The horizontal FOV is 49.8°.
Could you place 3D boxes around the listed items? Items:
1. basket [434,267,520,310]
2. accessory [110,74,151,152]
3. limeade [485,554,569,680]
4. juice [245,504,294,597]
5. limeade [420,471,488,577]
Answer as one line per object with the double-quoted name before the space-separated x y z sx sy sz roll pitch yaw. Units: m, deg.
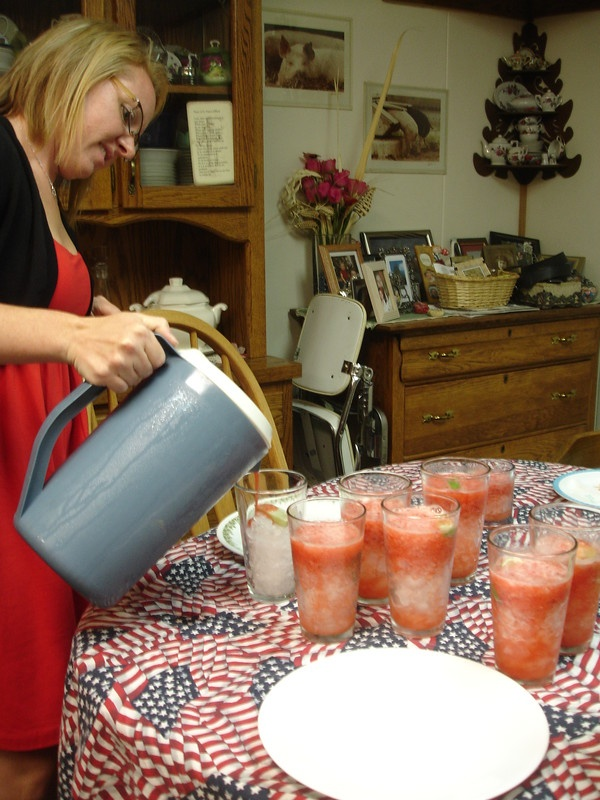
"basket" 0.693 -0.429 2.528 0.298 0.131 0.176 -8 21 -22
"accessory" -0.283 -0.488 1.088 0.021 0.066 0.065 -26 -18 -5
"limeade" 0.180 0.172 0.516 0.067 0.093 0.066 3 7 39
"juice" -0.044 0.161 0.673 0.067 0.096 0.063 1 -24 -12
"limeade" 0.160 0.137 0.695 0.073 0.109 0.072 2 -6 -27
